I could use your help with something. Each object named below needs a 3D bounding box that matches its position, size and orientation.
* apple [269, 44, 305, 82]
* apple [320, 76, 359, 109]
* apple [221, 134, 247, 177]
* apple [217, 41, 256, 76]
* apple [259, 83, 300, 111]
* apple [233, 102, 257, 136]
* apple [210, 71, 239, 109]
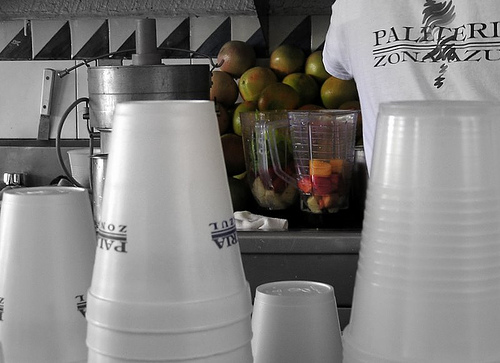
[{"bbox_3d":[0.137,-0.418,1.879,0.140,0.159,0.137,2,4,8],"label":"apple"},{"bbox_3d":[0.280,-0.292,1.656,0.120,0.095,0.145,-2,0,15],"label":"apple"},{"bbox_3d":[-0.049,-0.064,1.549,0.084,0.094,0.083,-8,-8,14],"label":"apple"},{"bbox_3d":[-0.046,-0.446,1.906,0.138,0.105,0.101,-1,27,-40],"label":"apple"},{"bbox_3d":[0.096,-0.253,1.568,0.114,0.104,0.104,5,26,17],"label":"apple"},{"bbox_3d":[-0.021,-0.200,1.638,0.052,0.098,0.110,-2,0,-39],"label":"apple"},{"bbox_3d":[-0.096,-0.314,1.756,0.063,0.121,0.158,-2,0,32],"label":"apple"}]
